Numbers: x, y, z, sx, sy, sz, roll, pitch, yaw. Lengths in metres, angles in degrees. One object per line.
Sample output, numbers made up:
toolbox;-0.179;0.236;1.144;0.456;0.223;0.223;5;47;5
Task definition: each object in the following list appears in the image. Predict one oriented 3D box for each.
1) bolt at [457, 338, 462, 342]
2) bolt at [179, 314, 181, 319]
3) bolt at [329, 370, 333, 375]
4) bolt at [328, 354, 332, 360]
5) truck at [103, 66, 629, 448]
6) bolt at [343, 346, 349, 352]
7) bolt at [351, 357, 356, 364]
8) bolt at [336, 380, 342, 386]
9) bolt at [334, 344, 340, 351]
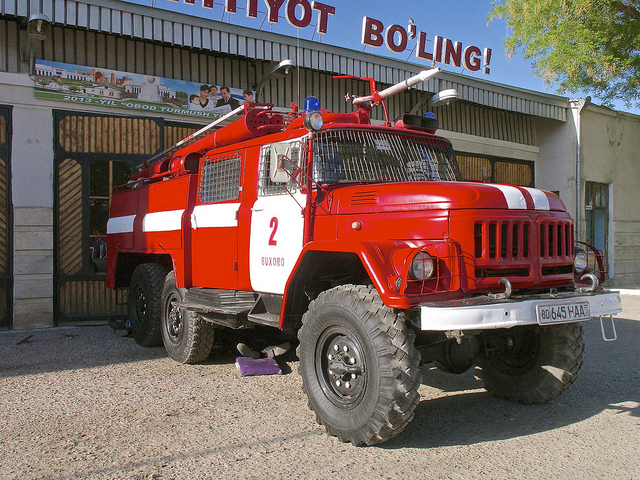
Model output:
bolt;1.394;1.003;5.853;0.063;0.020;0.070;2;-2;-19
bolt;-1.969;1.090;8.357;0.003;0.073;0.076;-4;9;-26
bolt;0.121;1.396;6.196;0.011;0.057;0.050;-9;14;-28
bolt;0.117;1.241;6.215;0.009;0.044;0.040;4;12;-21
truck;-0.187;0.219;8.913;3.319;4.678;8.201;1;-2;-39
bolt;0.272;1.129;6.074;0.071;0.061;0.014;6;9;37
bolt;0.349;1.233;6.010;0.015;0.070;0.061;4;14;-46
bolt;0.202;1.493;6.128;0.062;0.065;0.011;7;10;42
bolt;0.183;1.131;6.161;0.069;0.071;0.014;6;9;36
